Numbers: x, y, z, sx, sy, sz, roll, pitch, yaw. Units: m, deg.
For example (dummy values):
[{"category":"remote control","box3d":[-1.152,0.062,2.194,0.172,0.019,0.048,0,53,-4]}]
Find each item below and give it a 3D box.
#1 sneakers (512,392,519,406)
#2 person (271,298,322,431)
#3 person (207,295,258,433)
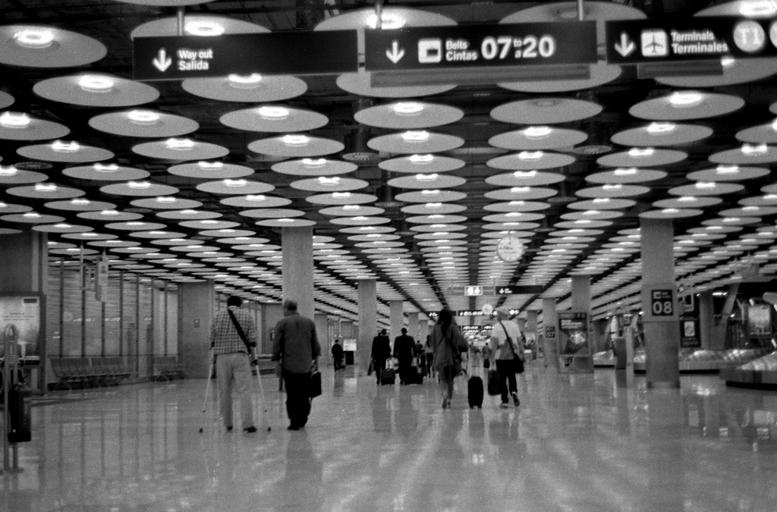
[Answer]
[{"category":"sneakers","box3d":[3.668,4.133,20.124,0.203,0.530,0.224,-7,32,11]},{"category":"person","box3d":[-2.169,2.547,16.786,1.071,3.022,1.233,0,-12,-6]},{"category":"person","box3d":[-3.546,2.438,16.172,1.065,3.085,1.103,1,-12,-14]}]
